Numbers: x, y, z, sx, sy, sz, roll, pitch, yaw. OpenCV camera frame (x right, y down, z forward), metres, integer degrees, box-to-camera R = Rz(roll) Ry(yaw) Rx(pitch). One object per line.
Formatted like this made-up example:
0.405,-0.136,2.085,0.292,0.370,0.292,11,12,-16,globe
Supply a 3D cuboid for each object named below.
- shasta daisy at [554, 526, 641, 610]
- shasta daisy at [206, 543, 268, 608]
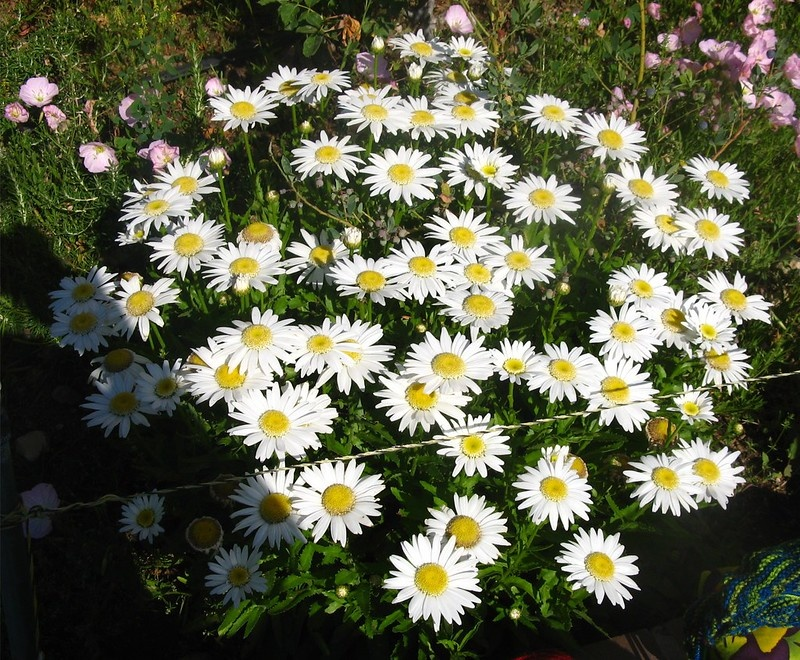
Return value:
0.867,1.028,3.349,0.344,0.098,0.408,-2,70,-9,shasta daisy
-0.739,1.085,3.399,0.258,0.185,0.207,-12,48,-17,shasta daisy
